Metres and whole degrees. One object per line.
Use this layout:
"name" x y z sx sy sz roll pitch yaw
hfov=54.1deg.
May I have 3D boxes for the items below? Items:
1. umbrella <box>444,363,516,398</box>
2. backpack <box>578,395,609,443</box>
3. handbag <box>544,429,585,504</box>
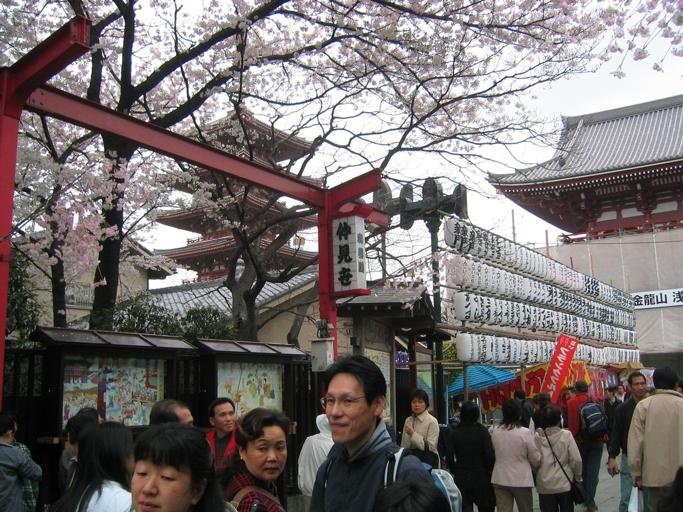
"umbrella" 3.679 3.169 17.409 1.692 0.697 1.131 -8 -15 27
"backpack" 3.894 2.540 10.344 0.383 0.601 0.464 -4 -14 18
"handbag" 2.997 2.833 8.956 0.493 0.923 0.249 -1 -12 3
